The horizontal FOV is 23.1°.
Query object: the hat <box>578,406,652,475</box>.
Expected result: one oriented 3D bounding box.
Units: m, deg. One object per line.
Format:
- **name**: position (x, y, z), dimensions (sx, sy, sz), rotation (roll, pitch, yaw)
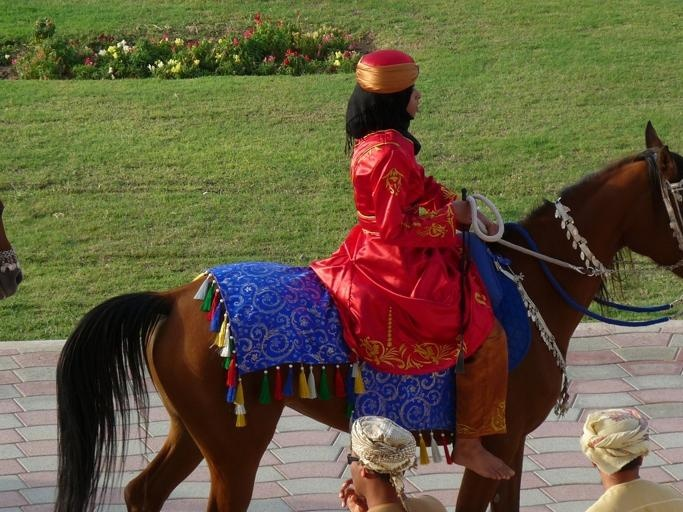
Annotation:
- **hat**: position (2.563, 1.710, 15.476), dimensions (0.516, 0.371, 0.633), rotation (16, 30, 42)
